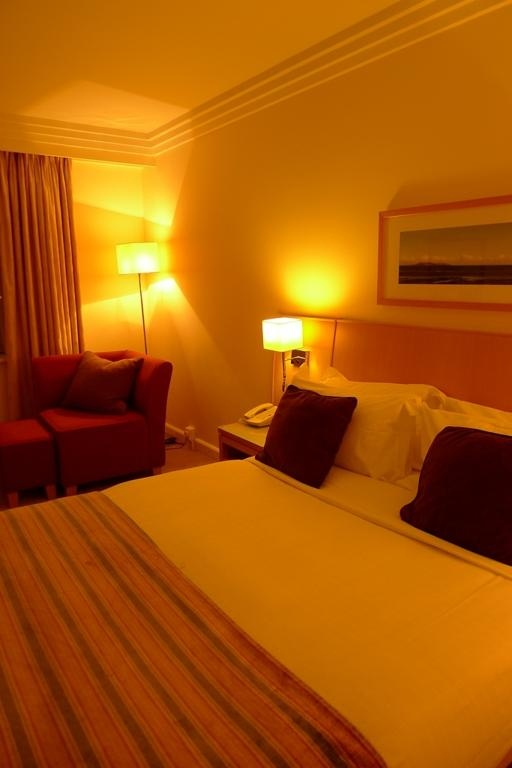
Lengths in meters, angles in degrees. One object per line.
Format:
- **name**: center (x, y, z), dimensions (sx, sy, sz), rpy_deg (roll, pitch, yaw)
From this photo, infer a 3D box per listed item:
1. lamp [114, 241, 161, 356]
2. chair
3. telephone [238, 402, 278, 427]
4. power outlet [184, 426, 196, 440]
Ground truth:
- **lamp**: center (-1.068, -0.813, 4.866), dimensions (0.319, 1.333, 0.381), rpy_deg (-4, 34, -3)
- **chair**: center (-1.078, 0.098, 3.886), dimensions (0.950, 1.055, 0.932), rpy_deg (-3, 8, -35)
- **telephone**: center (0.044, 0.151, 3.127), dimensions (0.160, 0.065, 0.116), rpy_deg (-26, 21, -32)
- **power outlet**: center (-0.545, 0.407, 4.598), dimensions (0.090, 0.132, 0.129), rpy_deg (-7, 17, -30)
